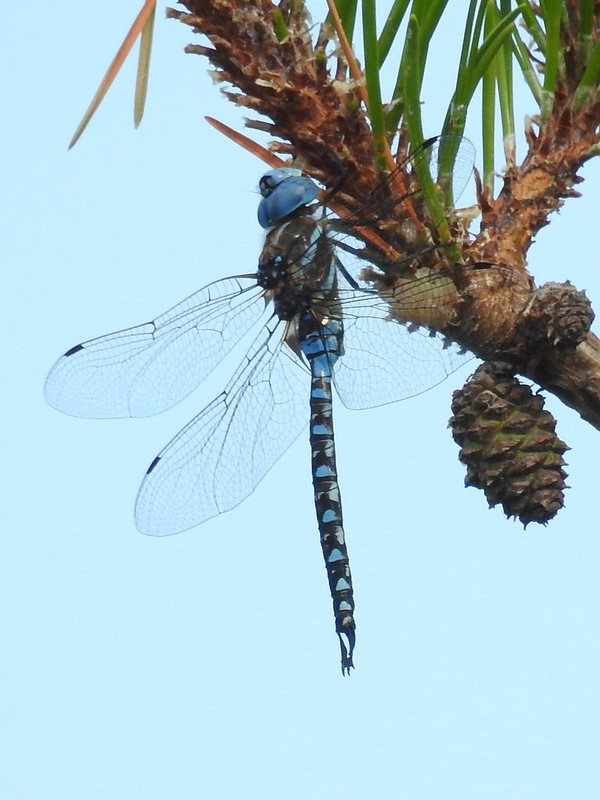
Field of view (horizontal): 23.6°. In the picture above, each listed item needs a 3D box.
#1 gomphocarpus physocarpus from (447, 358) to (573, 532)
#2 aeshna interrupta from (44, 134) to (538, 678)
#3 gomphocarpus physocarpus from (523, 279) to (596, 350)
[{"bbox_3d":[0.424,0.089,2.912,0.220,0.282,0.215,-12,-50,11],"label":"gomphocarpus physocarpus"},{"bbox_3d":[-0.115,-0.059,3.171,1.120,0.565,1.009,6,-72,37],"label":"aeshna interrupta"},{"bbox_3d":[0.511,-0.166,2.885,0.147,0.108,0.110,-10,-50,8],"label":"gomphocarpus physocarpus"}]
